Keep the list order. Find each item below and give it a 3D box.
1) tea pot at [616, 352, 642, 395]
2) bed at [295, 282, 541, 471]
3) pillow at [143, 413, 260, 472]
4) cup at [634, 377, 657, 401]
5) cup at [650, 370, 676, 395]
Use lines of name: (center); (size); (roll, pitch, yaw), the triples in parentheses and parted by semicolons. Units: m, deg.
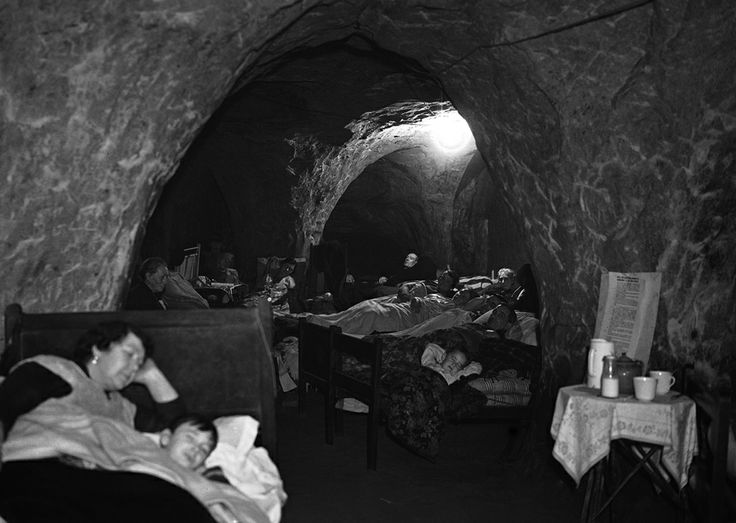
tea pot: (1.514, 0.650, 3.425); (0.186, 0.201, 0.185); (-1, 2, 0)
bed: (0.421, 0.921, 4.762); (1.559, 0.728, 1.321); (-1, 37, -3)
pillow: (-0.809, 0.932, 3.041); (0.403, 0.148, 0.260); (13, 3, -20)
cup: (1.557, 0.715, 3.307); (0.122, 0.112, 0.117); (3, -5, 0)
cup: (1.749, 0.711, 3.478); (0.168, 0.139, 0.141); (1, -8, 10)
